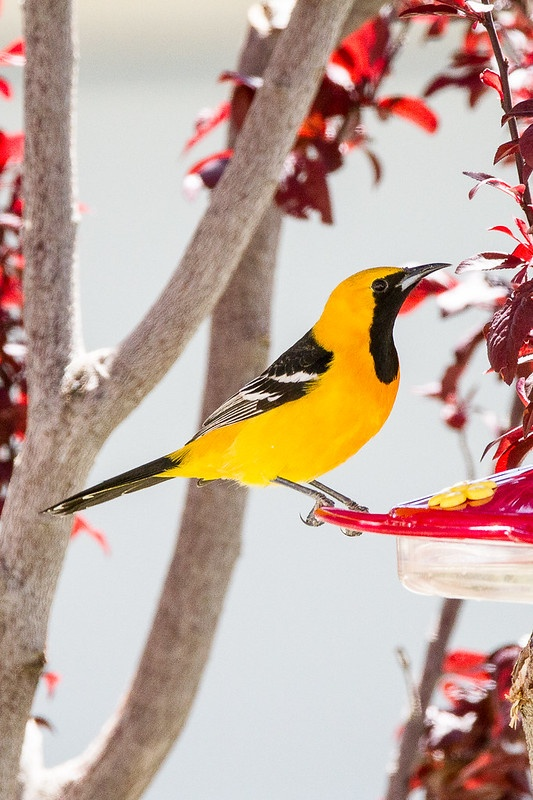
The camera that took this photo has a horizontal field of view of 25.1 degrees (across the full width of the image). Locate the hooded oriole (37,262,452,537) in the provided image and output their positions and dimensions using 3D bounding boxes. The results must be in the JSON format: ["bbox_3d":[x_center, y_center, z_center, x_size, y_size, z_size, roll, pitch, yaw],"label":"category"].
[{"bbox_3d":[-0.046,-0.002,2.353,0.819,0.456,0.234,-4,-4,20],"label":"hooded oriole"}]
